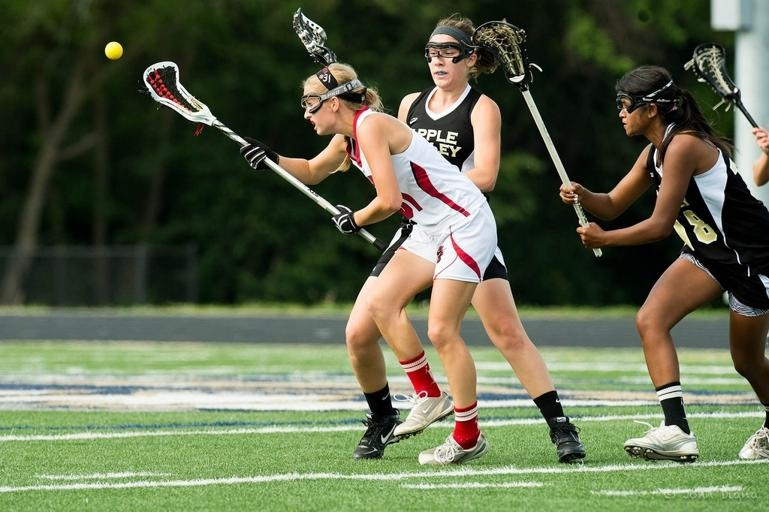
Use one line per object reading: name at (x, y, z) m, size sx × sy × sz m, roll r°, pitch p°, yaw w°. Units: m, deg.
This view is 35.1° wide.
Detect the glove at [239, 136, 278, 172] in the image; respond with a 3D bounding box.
glove at (-1.063, -0.849, 10.452) m, size 0.336 × 0.248 × 0.156 m, roll 4°, pitch -26°, yaw -37°

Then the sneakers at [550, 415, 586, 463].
sneakers at (1.436, 1.456, 9.615) m, size 0.174 × 0.206 × 0.435 m, roll -29°, pitch 8°, yaw 4°

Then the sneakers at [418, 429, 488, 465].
sneakers at (0.537, 1.501, 9.632) m, size 0.598 × 0.215 × 0.209 m, roll -7°, pitch 17°, yaw -4°

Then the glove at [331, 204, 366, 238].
glove at (-0.317, -0.286, 9.717) m, size 0.292 × 0.078 × 0.173 m, roll 30°, pitch -3°, yaw 45°
